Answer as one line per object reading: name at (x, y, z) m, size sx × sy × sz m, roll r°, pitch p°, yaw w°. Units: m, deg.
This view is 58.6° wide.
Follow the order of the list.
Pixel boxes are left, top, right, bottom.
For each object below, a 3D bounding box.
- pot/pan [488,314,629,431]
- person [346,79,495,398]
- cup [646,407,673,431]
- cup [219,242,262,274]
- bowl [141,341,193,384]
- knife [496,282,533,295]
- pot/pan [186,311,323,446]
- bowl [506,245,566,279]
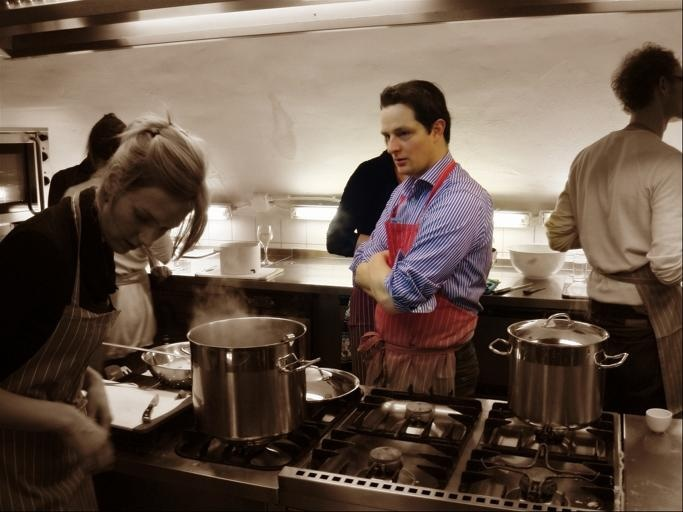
pot/pan at (0.664, 0.285, 1.876) m, size 0.474 × 0.357 × 0.318 m, roll 2°, pitch 6°, yaw 28°
person at (0.276, -0.059, 2.328) m, size 0.559 × 1.204 × 0.496 m, roll 0°, pitch 0°, yaw 22°
cup at (1.002, 0.501, 1.911) m, size 0.074 × 0.051 × 0.068 m, roll -1°, pitch -3°, yaw 0°
cup at (-0.621, 0.001, 3.729) m, size 0.210 × 0.140 × 0.206 m, roll -1°, pitch 3°, yaw 0°
bowl at (-0.608, 0.371, 2.142) m, size 0.151 × 0.045 × 0.152 m, roll 4°, pitch 5°, yaw 0°
knife at (0.942, 0.173, 3.319) m, size 0.294 × 0.022 × 0.037 m, roll -8°, pitch -12°, yaw -45°
pot/pan at (-0.246, 0.364, 1.826) m, size 0.425 × 0.278 × 0.301 m, roll 1°, pitch 2°, yaw 5°
bowl at (1.148, 0.033, 3.569) m, size 0.243 × 0.132 × 0.238 m, roll -2°, pitch 10°, yaw 0°
